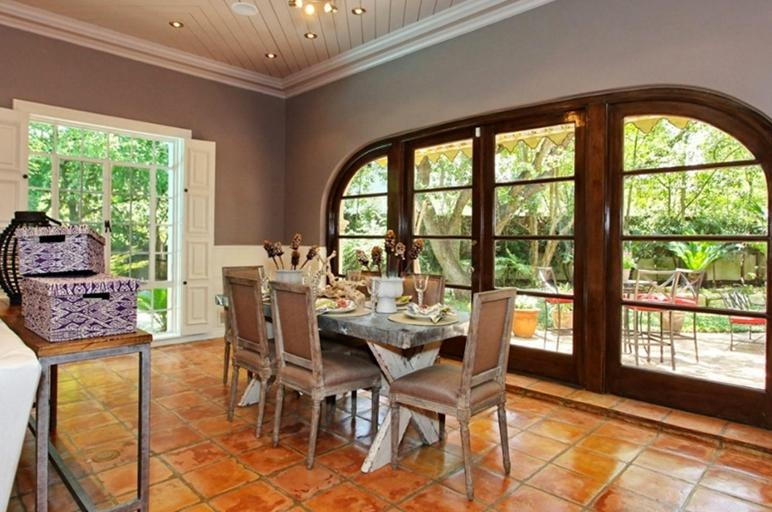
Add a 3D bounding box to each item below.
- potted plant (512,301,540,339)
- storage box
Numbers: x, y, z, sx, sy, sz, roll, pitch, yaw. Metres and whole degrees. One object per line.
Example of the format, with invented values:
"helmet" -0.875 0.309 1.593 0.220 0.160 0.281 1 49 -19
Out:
"potted plant" 1.499 0.718 5.315 0.342 0.302 0.328 3 -3 -16
"storage box" -1.737 0.130 2.679 0.570 0.499 0.738 0 1 -44
